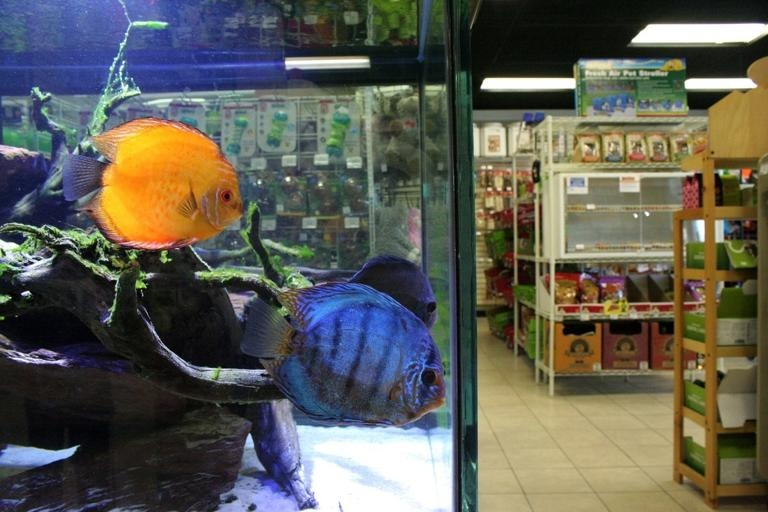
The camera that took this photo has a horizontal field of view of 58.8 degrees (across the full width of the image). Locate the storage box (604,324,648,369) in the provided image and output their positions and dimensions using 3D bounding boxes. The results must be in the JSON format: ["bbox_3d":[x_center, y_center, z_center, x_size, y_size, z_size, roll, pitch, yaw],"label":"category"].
[{"bbox_3d":[1.818,0.693,5.106,0.342,0.308,0.180,1,-3,4],"label":"storage box"}]

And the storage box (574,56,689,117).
[{"bbox_3d":[1.901,-1.294,5.223,0.819,0.471,0.170,-2,8,4],"label":"storage box"}]

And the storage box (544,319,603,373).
[{"bbox_3d":[1.443,0.698,5.252,0.402,0.367,0.385,0,-5,0],"label":"storage box"}]
